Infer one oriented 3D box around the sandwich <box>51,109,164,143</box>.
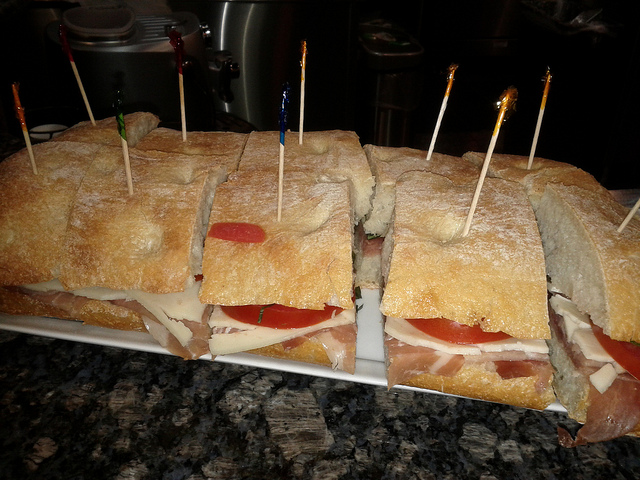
[{"bbox_3d":[-1.214,-0.692,3.033,0.341,0.068,0.339,-4,-5,23],"label":"sandwich"}]
